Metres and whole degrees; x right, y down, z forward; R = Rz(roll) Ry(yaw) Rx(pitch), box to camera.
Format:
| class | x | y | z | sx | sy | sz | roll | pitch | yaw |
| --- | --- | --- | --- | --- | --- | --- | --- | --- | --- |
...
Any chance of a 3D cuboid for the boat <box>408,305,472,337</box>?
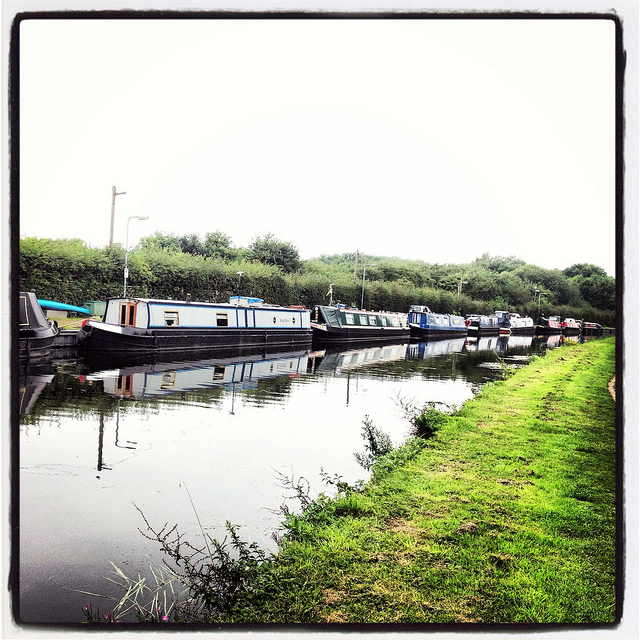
| class | x | y | z | sx | sy | sz | roll | pitch | yaw |
| --- | --- | --- | --- | --- | --- | --- | --- | --- | --- |
| boat | 7.783 | -0.115 | 38.254 | 1.803 | 2.210 | 6.458 | 4 | 3 | 35 |

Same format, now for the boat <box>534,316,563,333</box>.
| class | x | y | z | sx | sy | sz | roll | pitch | yaw |
| --- | --- | --- | --- | --- | --- | --- | --- | --- | --- |
| boat | 17.174 | 0.254 | 41.544 | 0.953 | 1.599 | 3.769 | 2 | 2 | 29 |

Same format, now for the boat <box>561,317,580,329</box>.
| class | x | y | z | sx | sy | sz | roll | pitch | yaw |
| --- | --- | --- | --- | --- | --- | --- | --- | --- | --- |
| boat | 16.561 | 0.178 | 36.751 | 1.062 | 0.787 | 4.395 | 2 | 0 | 23 |

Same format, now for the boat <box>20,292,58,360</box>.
| class | x | y | z | sx | sy | sz | roll | pitch | yaw |
| --- | --- | --- | --- | --- | --- | --- | --- | --- | --- |
| boat | -8.172 | 0.145 | 15.836 | 0.626 | 1.326 | 1.108 | 2 | 0 | 24 |

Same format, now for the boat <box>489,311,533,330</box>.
| class | x | y | z | sx | sy | sz | roll | pitch | yaw |
| --- | --- | --- | --- | --- | --- | --- | --- | --- | --- |
| boat | 15.607 | 0.384 | 45.526 | 3.283 | 1.393 | 1.857 | 2 | -3 | -44 |

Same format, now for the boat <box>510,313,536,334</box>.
| class | x | y | z | sx | sy | sz | roll | pitch | yaw |
| --- | --- | --- | --- | --- | --- | --- | --- | --- | --- |
| boat | 16.804 | 0.191 | 46.427 | 2.887 | 1.765 | 1.214 | 2 | 0 | -33 |

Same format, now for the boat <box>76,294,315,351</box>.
| class | x | y | z | sx | sy | sz | roll | pitch | yaw |
| --- | --- | --- | --- | --- | --- | --- | --- | --- | --- |
| boat | -4.296 | 0.284 | 22.568 | 2.624 | 2.480 | 12.013 | -3 | -5 | 30 |

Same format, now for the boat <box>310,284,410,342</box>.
| class | x | y | z | sx | sy | sz | roll | pitch | yaw |
| --- | --- | --- | --- | --- | --- | --- | --- | --- | --- |
| boat | 1.934 | -0.294 | 31.931 | 2.044 | 3.541 | 9.186 | 2 | 2 | 35 |

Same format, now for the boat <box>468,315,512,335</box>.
| class | x | y | z | sx | sy | sz | roll | pitch | yaw |
| --- | --- | --- | --- | --- | --- | --- | --- | --- | --- |
| boat | 12.628 | 0.451 | 42.892 | 1.515 | 1.100 | 2.894 | 2 | 3 | 40 |

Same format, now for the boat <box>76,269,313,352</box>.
| class | x | y | z | sx | sy | sz | roll | pitch | yaw |
| --- | --- | --- | --- | --- | --- | --- | --- | --- | --- |
| boat | -4.728 | 0.313 | 22.877 | 2.552 | 3.765 | 11.990 | -2 | -5 | 30 |

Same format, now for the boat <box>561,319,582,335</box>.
| class | x | y | z | sx | sy | sz | roll | pitch | yaw |
| --- | --- | --- | --- | --- | --- | --- | --- | --- | --- |
| boat | 16.860 | 0.422 | 37.417 | 1.095 | 1.090 | 3.781 | 2 | 0 | 23 |
